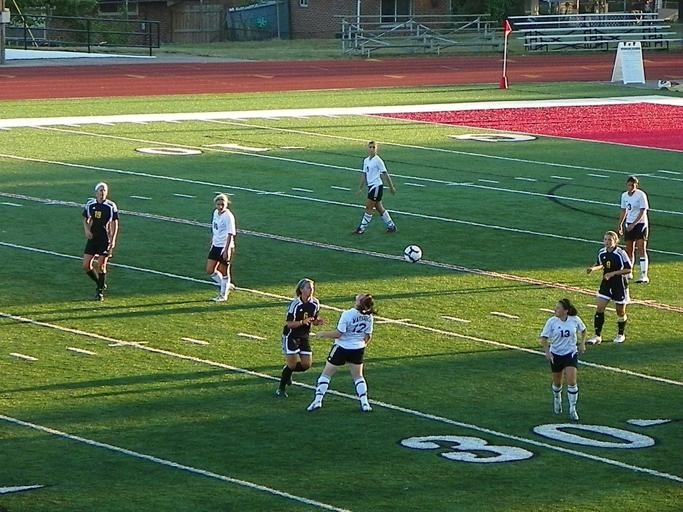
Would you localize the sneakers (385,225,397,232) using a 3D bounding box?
[{"bbox_3d":[1.083,-0.581,28.947,0.165,0.101,0.203,5,-3,-38],"label":"sneakers"}]

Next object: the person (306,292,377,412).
[{"bbox_3d":[0.049,1.434,19.682,0.878,1.738,0.422,1,11,-1],"label":"person"}]

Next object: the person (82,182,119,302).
[{"bbox_3d":[-4.389,-0.287,24.251,0.599,2.039,0.877,0,11,-10],"label":"person"}]

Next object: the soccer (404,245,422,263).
[{"bbox_3d":[1.476,-0.026,26.629,0.386,0.307,0.377,1,13,45],"label":"soccer"}]

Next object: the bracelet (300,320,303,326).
[{"bbox_3d":[-0.593,0.994,19.877,0.063,0.077,0.039,-1,11,-12],"label":"bracelet"}]

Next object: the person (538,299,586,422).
[{"bbox_3d":[3.283,1.521,19.729,0.615,1.737,0.620,3,11,8],"label":"person"}]

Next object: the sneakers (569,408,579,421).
[{"bbox_3d":[3.471,2.307,19.748,0.141,0.183,0.267,3,9,8],"label":"sneakers"}]

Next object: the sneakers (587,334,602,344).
[{"bbox_3d":[4.312,1.407,22.622,0.257,0.145,0.241,3,9,10],"label":"sneakers"}]

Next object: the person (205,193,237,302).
[{"bbox_3d":[-2.196,-0.174,24.302,0.505,1.922,0.840,1,10,-4],"label":"person"}]
